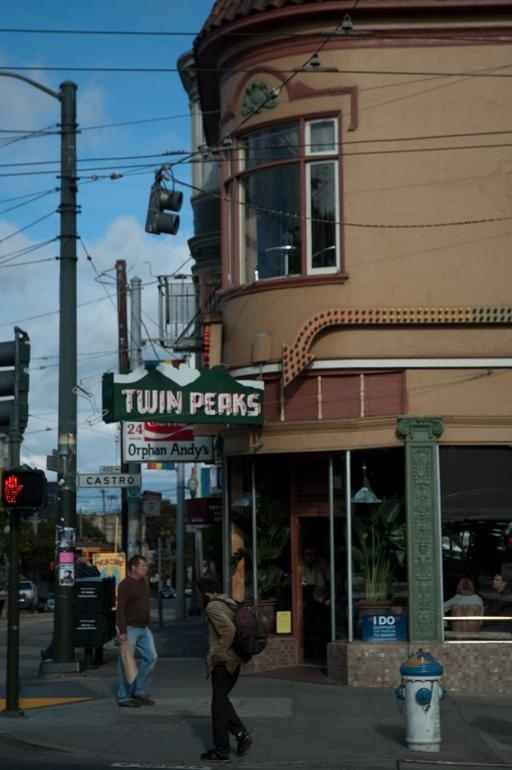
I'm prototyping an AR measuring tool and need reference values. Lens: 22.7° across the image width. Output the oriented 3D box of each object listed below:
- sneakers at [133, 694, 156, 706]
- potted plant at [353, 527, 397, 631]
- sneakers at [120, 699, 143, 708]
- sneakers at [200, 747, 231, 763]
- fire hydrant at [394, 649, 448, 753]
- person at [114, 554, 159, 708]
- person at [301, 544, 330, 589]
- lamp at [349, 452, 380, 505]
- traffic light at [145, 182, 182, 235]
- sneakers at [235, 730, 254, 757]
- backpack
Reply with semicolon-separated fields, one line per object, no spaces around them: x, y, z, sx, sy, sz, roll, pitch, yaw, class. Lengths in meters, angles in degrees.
-1.174;3.315;13.298;0.243;0.105;0.084;37;19;-22;sneakers
1.504;2.488;15.557;0.569;1.276;0.583;12;-19;-14;potted plant
-1.299;3.276;13.212;0.240;0.109;0.094;-5;37;-1;sneakers
-0.350;3.142;10.837;0.246;0.131;0.104;5;-15;10;sneakers
1.444;2.811;11.296;0.421;0.821;0.325;-2;-6;6;fire hydrant
-1.257;2.551;13.211;0.391;1.543;0.730;0;-6;-5;person
0.775;2.392;16.909;0.667;0.596;0.253;0;-1;10;person
1.329;1.208;15.642;0.414;0.475;0.439;1;1;4;lamp
-1.241;-2.358;17.057;0.360;0.668;0.502;2;-7;-24;traffic light
-0.128;3.092;10.938;0.126;0.259;0.091;36;28;29;sneakers
-0.180;2.121;11.084;0.555;0.629;0.447;0;-6;2;backpack
